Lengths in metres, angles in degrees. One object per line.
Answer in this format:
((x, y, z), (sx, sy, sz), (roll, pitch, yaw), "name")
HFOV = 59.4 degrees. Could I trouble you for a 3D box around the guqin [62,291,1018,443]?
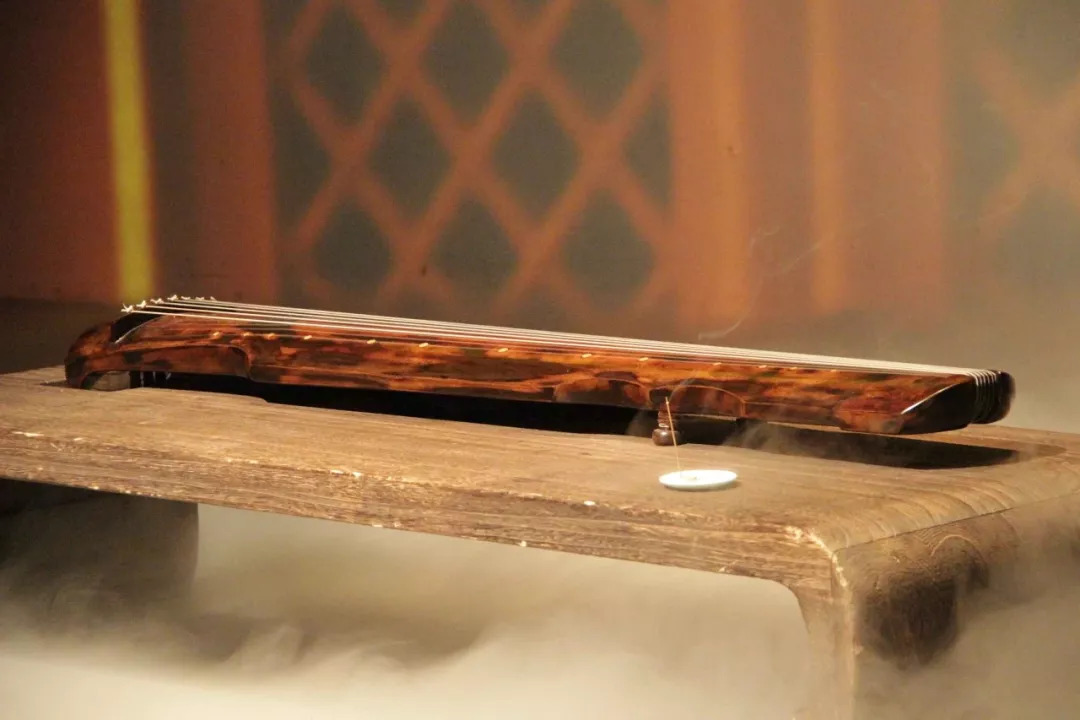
((0.032, 0.016, 1.815), (1.184, 0.117, 0.270), (4, 5, 17), "guqin")
